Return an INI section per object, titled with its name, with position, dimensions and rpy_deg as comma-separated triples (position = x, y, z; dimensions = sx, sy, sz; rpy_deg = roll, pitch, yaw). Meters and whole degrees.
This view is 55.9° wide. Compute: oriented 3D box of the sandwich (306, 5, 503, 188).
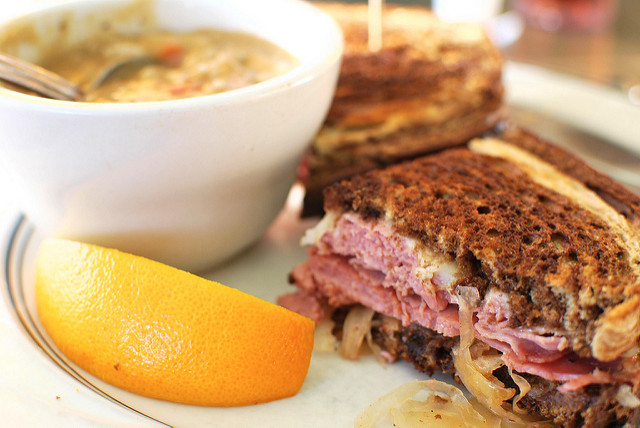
[sandwich]
position = 0.265, -0.378, 1.880
dimensions = 0.640, 0.222, 0.457
rpy_deg = -11, 40, 6
